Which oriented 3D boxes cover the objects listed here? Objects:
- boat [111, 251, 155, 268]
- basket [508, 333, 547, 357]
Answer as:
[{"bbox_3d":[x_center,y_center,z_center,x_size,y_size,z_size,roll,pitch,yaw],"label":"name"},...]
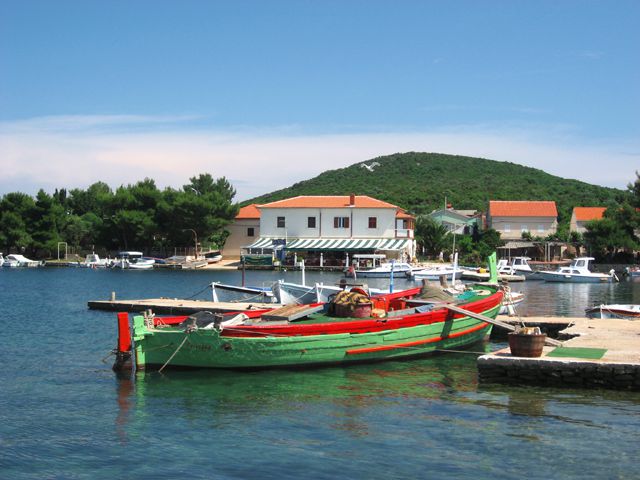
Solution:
[{"bbox_3d":[-20.583,2.340,83.391,2.286,1.118,5.299,-1,0,-29],"label":"boat"},{"bbox_3d":[6.244,3.204,22.852,0.936,0.449,0.823,1,-9,1],"label":"basket"}]
